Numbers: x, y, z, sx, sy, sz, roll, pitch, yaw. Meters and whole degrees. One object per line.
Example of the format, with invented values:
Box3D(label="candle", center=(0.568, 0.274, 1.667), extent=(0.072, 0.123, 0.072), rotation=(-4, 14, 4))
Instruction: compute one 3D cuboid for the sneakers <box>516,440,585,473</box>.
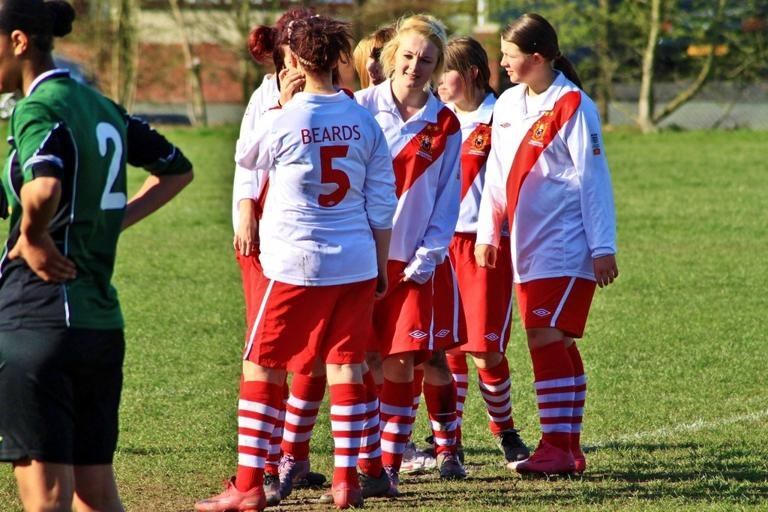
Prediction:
Box3D(label="sneakers", center=(1.286, 1.575, 11.056), extent=(0.608, 0.271, 0.221), rotation=(1, -7, -3))

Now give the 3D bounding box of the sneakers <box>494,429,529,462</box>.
Box3D(label="sneakers", center=(1.027, 1.497, 11.384), extent=(0.206, 0.174, 0.420), rotation=(-12, 21, -13))
